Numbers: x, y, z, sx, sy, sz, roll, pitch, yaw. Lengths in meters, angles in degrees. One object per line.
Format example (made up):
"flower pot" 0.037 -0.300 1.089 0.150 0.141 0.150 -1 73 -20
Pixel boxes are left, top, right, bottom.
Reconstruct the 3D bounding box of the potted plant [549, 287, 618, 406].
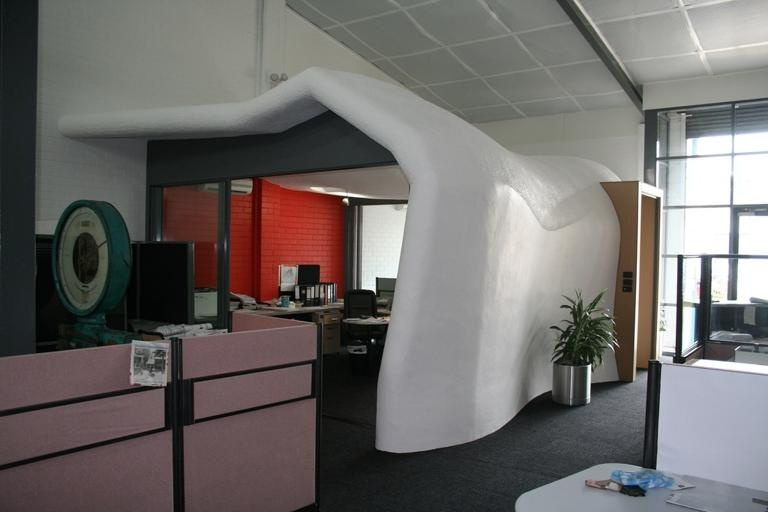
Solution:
"potted plant" 2.552 1.146 6.650 0.820 1.441 0.760 -1 -5 39

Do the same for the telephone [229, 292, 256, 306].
"telephone" -2.146 0.648 7.841 0.289 0.115 0.220 5 -2 -42

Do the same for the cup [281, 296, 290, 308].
"cup" -1.615 0.724 8.253 0.146 0.230 0.122 0 0 -17

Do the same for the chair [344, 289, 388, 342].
"chair" -0.335 1.057 8.021 0.689 1.053 0.616 1 -1 -22
